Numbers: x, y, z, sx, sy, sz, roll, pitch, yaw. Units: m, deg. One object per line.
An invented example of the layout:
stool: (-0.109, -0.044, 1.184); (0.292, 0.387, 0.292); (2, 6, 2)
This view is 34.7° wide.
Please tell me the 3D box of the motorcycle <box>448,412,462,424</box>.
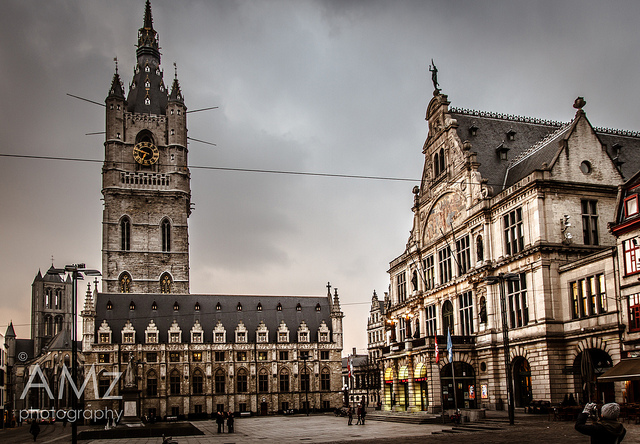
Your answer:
motorcycle: (14.392, 21.088, 109.277); (0.964, 1.487, 1.641); (1, 2, -29)
